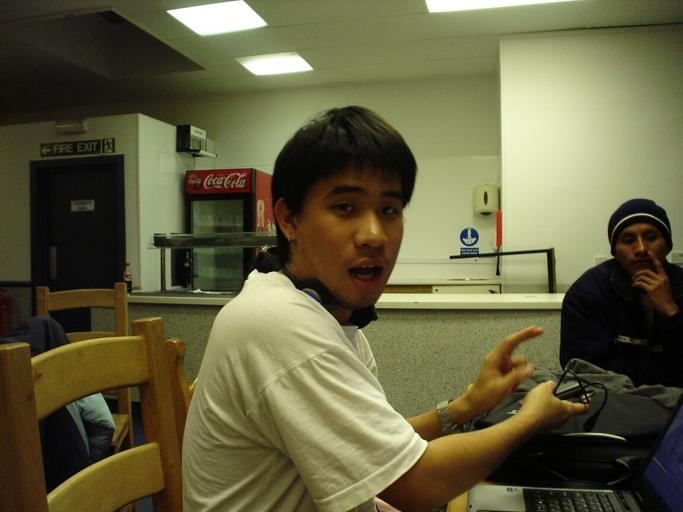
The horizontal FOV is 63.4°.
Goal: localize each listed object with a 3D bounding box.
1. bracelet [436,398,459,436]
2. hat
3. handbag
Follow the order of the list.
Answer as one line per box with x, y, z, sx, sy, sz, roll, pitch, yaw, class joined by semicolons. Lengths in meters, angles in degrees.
0.281;0.447;1.503;0.055;0.084;0.089;-15;38;9;bracelet
1.357;-0.176;2.531;0.238;0.223;0.265;1;-27;20;hat
0.666;0.500;1.496;0.311;0.099;0.315;-2;-3;11;handbag
